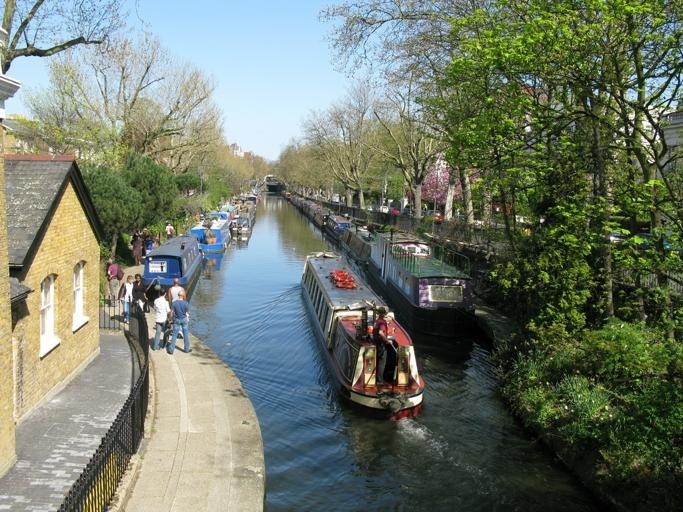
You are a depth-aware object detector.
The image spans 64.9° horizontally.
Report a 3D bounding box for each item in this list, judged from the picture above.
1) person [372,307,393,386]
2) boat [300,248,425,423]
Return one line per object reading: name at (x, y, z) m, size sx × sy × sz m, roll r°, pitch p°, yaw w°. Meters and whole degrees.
person at (1.287, 2.787, 16.373) m, size 0.582 × 2.457 × 0.659 m, roll -4°, pitch 14°, yaw -14°
boat at (0.441, 2.397, 21.154) m, size 1.820 × 2.437 × 11.570 m, roll 0°, pitch 14°, yaw -8°
